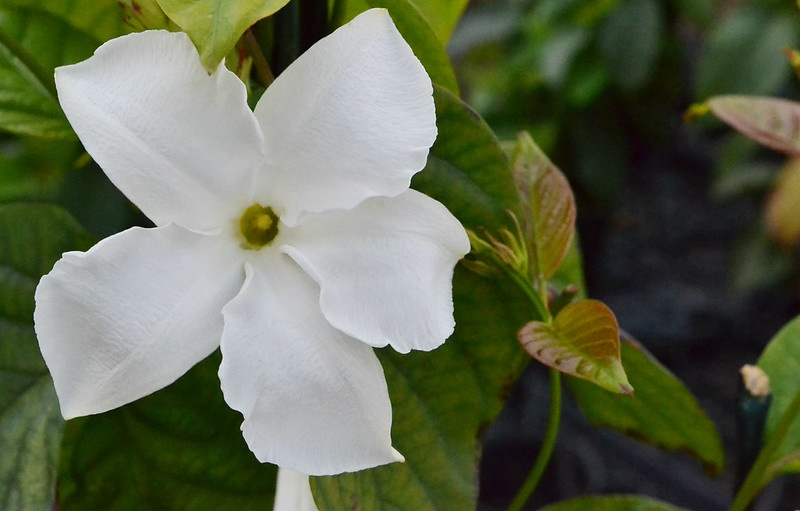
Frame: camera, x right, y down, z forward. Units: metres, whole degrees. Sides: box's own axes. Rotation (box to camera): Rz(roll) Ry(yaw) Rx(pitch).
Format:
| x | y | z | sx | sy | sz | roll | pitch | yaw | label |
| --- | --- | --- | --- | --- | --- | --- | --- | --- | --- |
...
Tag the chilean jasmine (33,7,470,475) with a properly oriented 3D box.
| x | y | z | sx | sy | sz | roll | pitch | yaw | label |
| --- | --- | --- | --- | --- | --- | --- | --- | --- | --- |
| -0.149 | -0.016 | 1.061 | 0.440 | 0.425 | 0.225 | 0 | 25 | 5 | chilean jasmine |
